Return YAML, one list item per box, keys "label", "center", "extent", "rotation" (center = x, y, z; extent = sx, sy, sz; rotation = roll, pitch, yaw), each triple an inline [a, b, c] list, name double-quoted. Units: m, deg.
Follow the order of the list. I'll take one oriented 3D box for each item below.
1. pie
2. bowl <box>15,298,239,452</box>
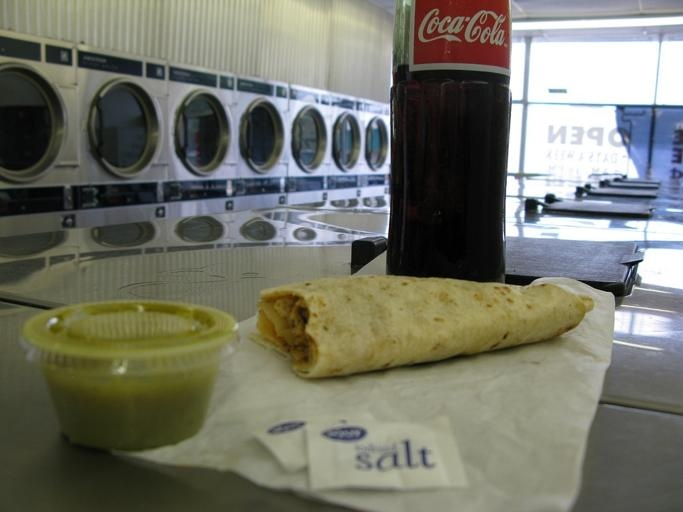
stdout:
- label: "pie"
  center: [0.078, 0.048, 0.498]
  extent: [0.221, 0.058, 0.133]
  rotation: [-1, -1, -16]
- label: "bowl"
  center: [-0.132, 0.071, 0.315]
  extent: [0.107, 0.055, 0.105]
  rotation: [1, 6, 0]
